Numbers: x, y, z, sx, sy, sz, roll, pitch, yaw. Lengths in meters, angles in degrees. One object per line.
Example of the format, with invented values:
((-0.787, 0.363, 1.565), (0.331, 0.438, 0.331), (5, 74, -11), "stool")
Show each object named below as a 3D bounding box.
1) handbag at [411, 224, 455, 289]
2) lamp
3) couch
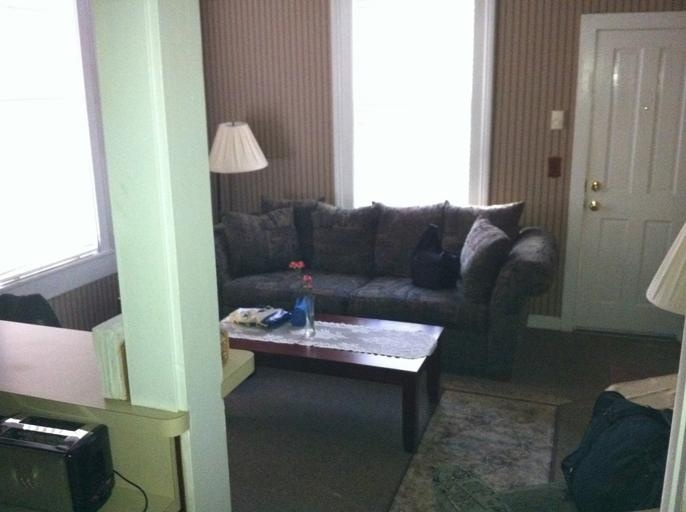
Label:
((0.685, 0.007, 4.174), (0.314, 0.464, 0.371), (5, 6, 1), "handbag")
((-0.906, -0.745, 4.875), (0.485, 0.753, 0.499), (-7, 21, -18), "lamp")
((0.197, 0.163, 4.483), (2.692, 1.139, 1.062), (4, 14, 18), "couch")
